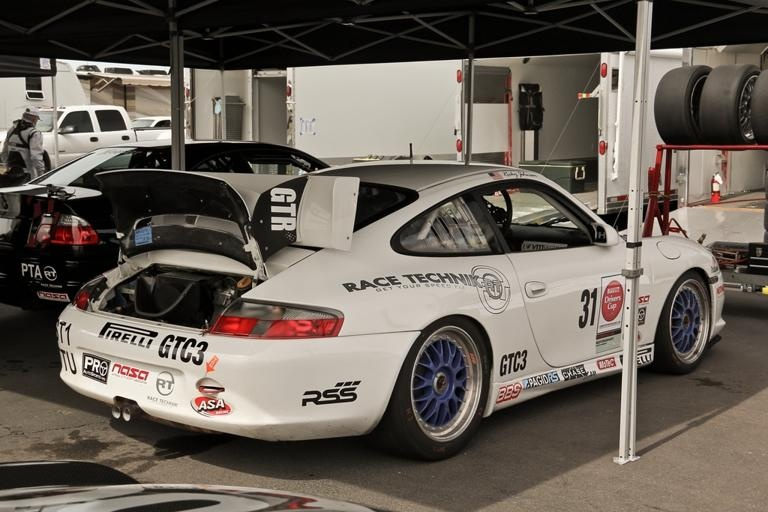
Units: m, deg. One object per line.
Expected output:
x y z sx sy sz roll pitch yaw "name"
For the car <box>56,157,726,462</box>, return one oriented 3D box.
0.397 0.249 4.689 4.332 1.542 2.362 -10 14 -38 "car"
